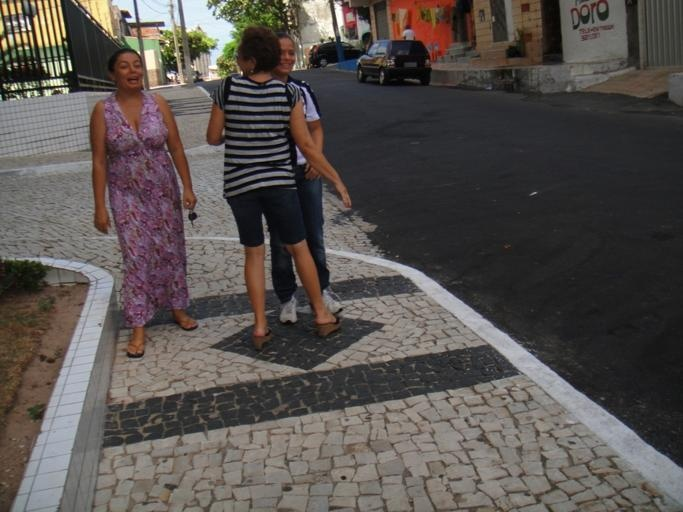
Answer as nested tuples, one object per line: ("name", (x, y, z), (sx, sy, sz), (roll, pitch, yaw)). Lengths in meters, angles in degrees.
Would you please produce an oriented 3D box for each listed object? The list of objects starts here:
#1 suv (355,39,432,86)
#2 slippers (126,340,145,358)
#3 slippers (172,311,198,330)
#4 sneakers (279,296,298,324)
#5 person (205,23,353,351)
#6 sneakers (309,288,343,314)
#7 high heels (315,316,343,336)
("suv", (2.321, -8.882, 23.575), (2.414, 1.331, 3.500), (-8, 25, -17))
("slippers", (-1.545, 0.701, 3.865), (0.150, 0.067, 0.232), (-1, 7, -21))
("slippers", (-1.292, 0.528, 4.273), (0.262, 0.066, 0.123), (16, 28, 43))
("sneakers", (-0.445, 0.450, 4.309), (0.124, 0.100, 0.265), (0, 15, -10))
("person", (-0.449, -0.493, 3.826), (0.880, 2.283, 0.798), (-11, 24, -18))
("sneakers", (-0.115, 0.382, 4.426), (0.301, 0.109, 0.110), (22, 16, 40))
("high heels", (-0.096, 0.557, 3.991), (0.095, 0.074, 0.232), (4, 10, 27))
